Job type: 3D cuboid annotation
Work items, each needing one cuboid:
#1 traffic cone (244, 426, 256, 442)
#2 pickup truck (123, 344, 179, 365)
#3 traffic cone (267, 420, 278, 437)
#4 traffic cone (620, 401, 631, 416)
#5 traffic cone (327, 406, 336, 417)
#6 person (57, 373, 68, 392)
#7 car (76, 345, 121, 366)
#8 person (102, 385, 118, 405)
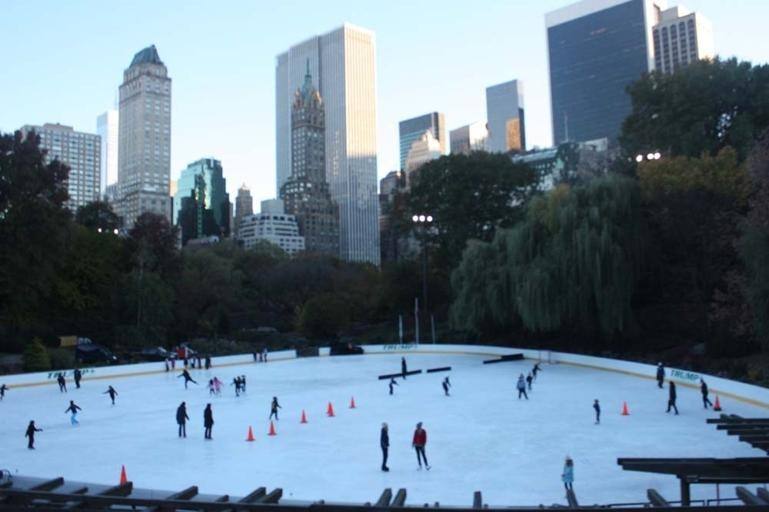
[{"bbox_3d":[-10.419,13.381,73.955,0.867,1.165,0.894,0,-8,-3],"label":"traffic cone"},{"bbox_3d":[-24.388,10.341,100.798,5.610,1.833,2.555,0,-4,12],"label":"pickup truck"},{"bbox_3d":[-8.640,13.144,74.946,0.847,1.141,0.841,-1,-10,-3],"label":"traffic cone"},{"bbox_3d":[18.822,11.901,76.782,0.833,1.126,0.832,-3,-10,3],"label":"traffic cone"},{"bbox_3d":[-4.296,12.287,77.960,0.715,0.767,0.727,-1,-9,-2],"label":"traffic cone"},{"bbox_3d":[-28.670,11.143,86.751,0.531,1.756,0.996,-15,9,-10],"label":"person"},{"bbox_3d":[-28.841,9.851,97.677,3.457,1.668,2.004,-1,0,0],"label":"car"},{"bbox_3d":[-23.533,11.816,83.658,1.295,2.193,0.590,-8,-18,-12],"label":"person"}]
